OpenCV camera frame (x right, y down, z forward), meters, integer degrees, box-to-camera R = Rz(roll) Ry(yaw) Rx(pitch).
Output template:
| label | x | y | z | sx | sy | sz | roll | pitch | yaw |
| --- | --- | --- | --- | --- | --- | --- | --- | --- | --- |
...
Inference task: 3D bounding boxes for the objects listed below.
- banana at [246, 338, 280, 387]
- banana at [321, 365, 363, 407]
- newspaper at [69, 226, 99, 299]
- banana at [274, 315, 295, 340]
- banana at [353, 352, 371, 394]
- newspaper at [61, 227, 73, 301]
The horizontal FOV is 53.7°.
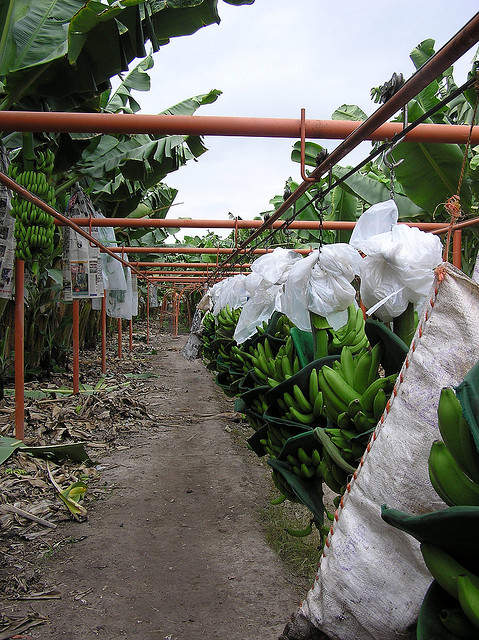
| label | x | y | z | sx | sy | sz | roll | pitch | yaw |
| --- | --- | --- | --- | --- | --- | --- | --- | --- | --- |
| banana | 0.150 | 0.234 | 2.745 | 0.096 | 0.204 | 0.164 | -23 | 5 | -3 |
| banana | 0.319 | 0.201 | 1.644 | 0.203 | 0.060 | 0.072 | 47 | 9 | 13 |
| newspaper | -1.651 | -0.669 | 5.042 | 0.105 | 0.845 | 0.386 | 8 | 11 | 38 |
| banana | 0.275 | 0.043 | 2.894 | 0.094 | 0.144 | 0.117 | 0 | 2 | 10 |
| banana | 0.414 | 0.181 | 1.649 | 0.042 | 0.139 | 0.048 | 11 | 15 | 18 |
| newspaper | -1.786 | -0.597 | 4.945 | 0.127 | 0.764 | 0.295 | 3 | 2 | -20 |
